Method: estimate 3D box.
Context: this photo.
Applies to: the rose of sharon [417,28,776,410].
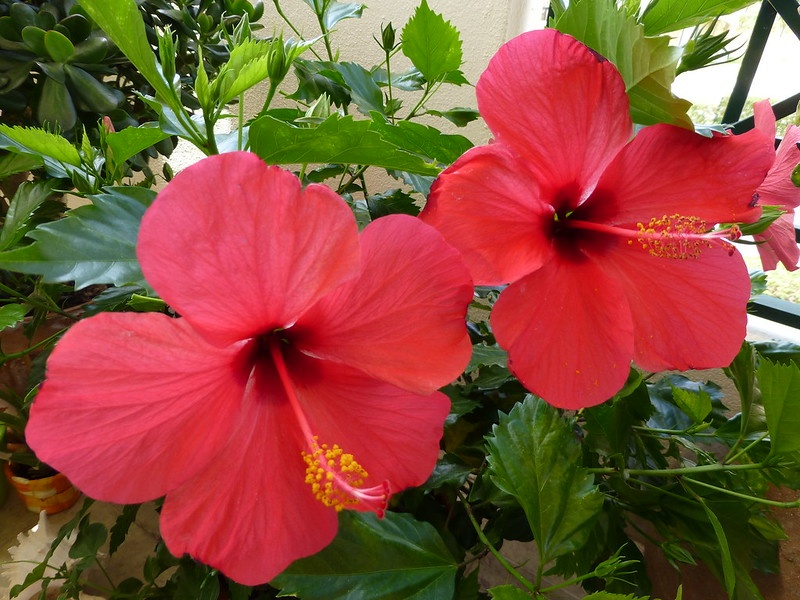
[{"bbox_3d":[0.173,-0.124,0.624,0.153,0.339,0.328,42,19,19],"label":"rose of sharon"}]
